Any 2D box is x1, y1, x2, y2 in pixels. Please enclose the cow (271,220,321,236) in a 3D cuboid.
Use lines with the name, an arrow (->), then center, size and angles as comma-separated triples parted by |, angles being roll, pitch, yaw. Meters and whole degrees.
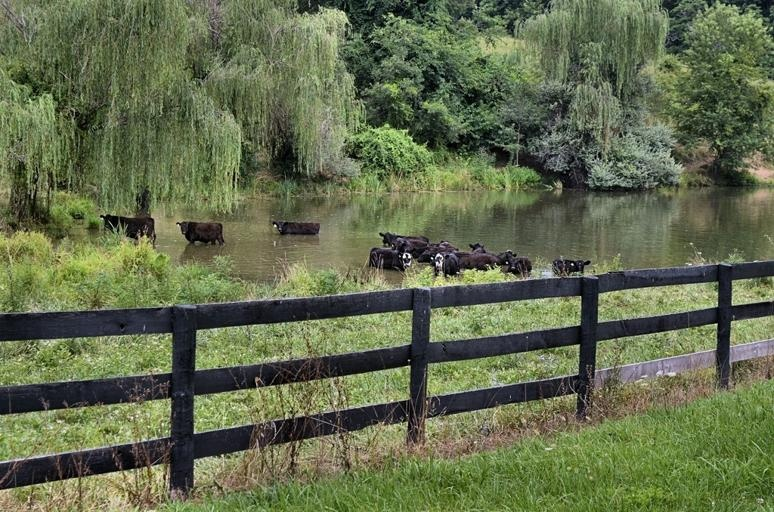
cow -> -2.779, -0.883, 25.661 | 1.307, 0.444, 0.567 | 3, 5, -5

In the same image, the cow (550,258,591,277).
cow -> 4.333, 0.259, 19.999 | 0.772, 0.484, 0.411 | -1, 5, 22

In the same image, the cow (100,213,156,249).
cow -> -6.998, -0.661, 22.629 | 1.384, 0.818, 1.881 | -3, 6, -11

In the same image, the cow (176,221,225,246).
cow -> -5.158, -0.626, 23.325 | 1.261, 0.623, 0.589 | 0, 5, 15
